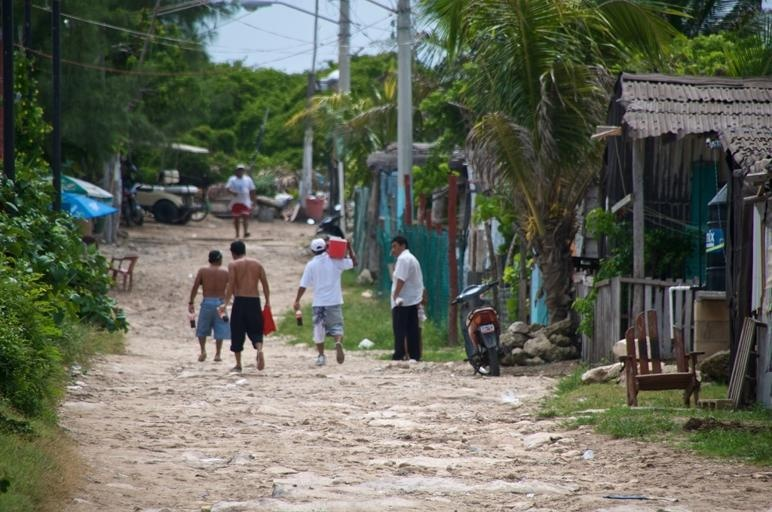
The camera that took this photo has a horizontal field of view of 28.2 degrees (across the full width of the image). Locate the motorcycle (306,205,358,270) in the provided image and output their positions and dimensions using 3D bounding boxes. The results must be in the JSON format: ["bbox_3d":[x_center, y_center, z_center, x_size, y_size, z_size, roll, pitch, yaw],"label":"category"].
[{"bbox_3d":[-1.272,-0.298,40.339,1.377,2.496,1.848,2,4,1],"label":"motorcycle"}]

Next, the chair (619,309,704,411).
[{"bbox_3d":[4.592,1.790,25.743,1.002,1.726,1.294,1,1,11],"label":"chair"}]

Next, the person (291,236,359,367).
[{"bbox_3d":[-1.205,0.921,30.569,1.043,2.537,1.374,3,14,18],"label":"person"}]

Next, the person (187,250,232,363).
[{"bbox_3d":[-3.468,1.009,30.727,0.669,2.159,1.094,0,0,-16],"label":"person"}]
